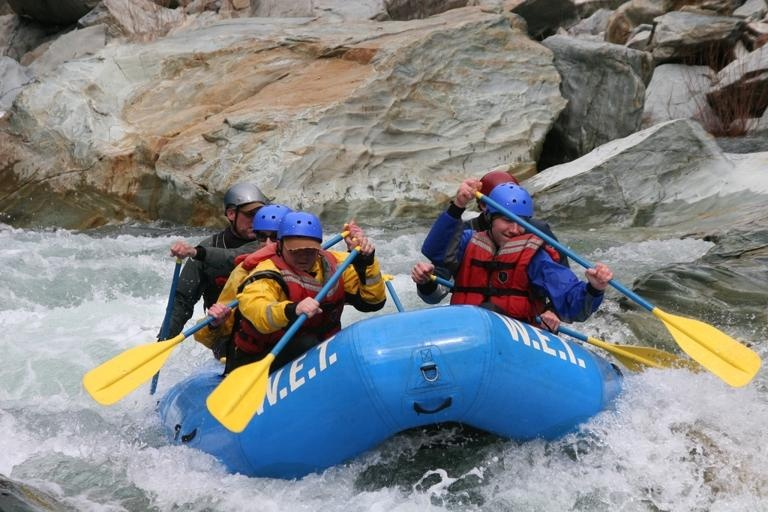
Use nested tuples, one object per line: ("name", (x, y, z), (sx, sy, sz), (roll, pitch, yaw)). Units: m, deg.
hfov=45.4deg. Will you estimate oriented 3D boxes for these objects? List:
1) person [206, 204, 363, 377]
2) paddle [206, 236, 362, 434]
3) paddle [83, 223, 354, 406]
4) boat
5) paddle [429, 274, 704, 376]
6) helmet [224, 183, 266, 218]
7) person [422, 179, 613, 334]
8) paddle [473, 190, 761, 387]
("person", (-0.725, 0.167, 9.556), (1.183, 0.672, 1.864), (17, 13, -24))
("paddle", (-1.043, 0.833, 10.140), (0.197, 0.511, 3.021), (-33, 12, 34))
("paddle", (-1.639, 0.619, 9.744), (3.205, 0.212, 0.436), (-34, 47, -4))
("boat", (0.183, 1.339, 9.233), (3.015, 0.971, 2.096), (-6, 2, 20))
("paddle", (1.888, 0.753, 9.698), (2.794, 0.379, 0.181), (19, 8, 12))
("helmet", (-1.646, -0.669, 10.892), (0.399, 0.311, 0.322), (12, 11, 6))
("person", (1.583, 0.047, 10.390), (1.501, 0.602, 1.916), (22, 54, 18))
("paddle", (2.688, 0.423, 10.331), (3.969, 0.565, 0.262), (33, 18, 18))
